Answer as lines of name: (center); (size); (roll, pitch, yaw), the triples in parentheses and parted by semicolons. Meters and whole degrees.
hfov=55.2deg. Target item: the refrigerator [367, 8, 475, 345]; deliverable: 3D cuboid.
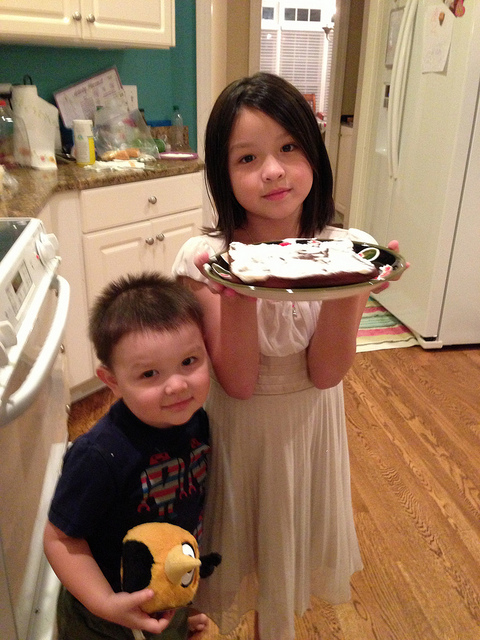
refrigerator: (1.057, -0.749, 2.565); (0.293, 1.638, 0.864); (-10, 31, -16)
